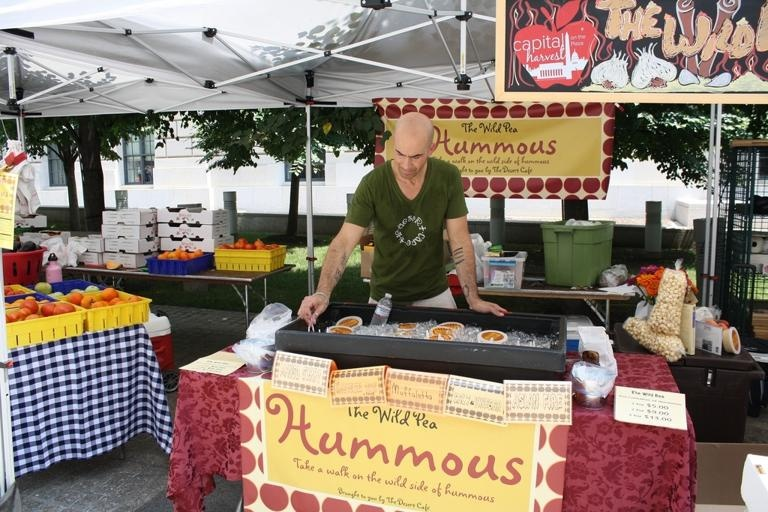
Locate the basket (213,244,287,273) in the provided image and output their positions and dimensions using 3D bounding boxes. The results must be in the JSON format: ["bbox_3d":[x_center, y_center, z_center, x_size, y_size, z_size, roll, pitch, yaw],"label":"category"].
[{"bbox_3d":[-1.587,0.041,6.361,0.871,0.290,0.230,2,11,3],"label":"basket"}]

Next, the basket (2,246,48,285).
[{"bbox_3d":[-3.954,0.125,6.185,0.621,0.463,0.614,0,-1,-30],"label":"basket"}]

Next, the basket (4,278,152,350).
[{"bbox_3d":[-2.263,0.447,4.147,0.675,0.455,0.772,3,-8,-7],"label":"basket"}]
